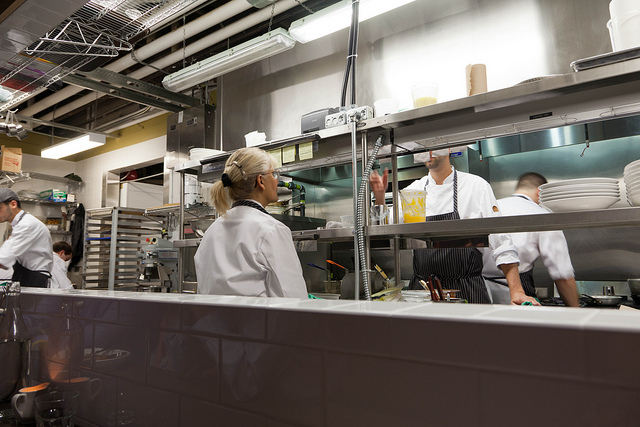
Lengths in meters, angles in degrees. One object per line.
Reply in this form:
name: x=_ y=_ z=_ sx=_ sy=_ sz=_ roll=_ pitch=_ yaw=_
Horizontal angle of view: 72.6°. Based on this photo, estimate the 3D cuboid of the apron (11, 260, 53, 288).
apron: x=-2.770 y=0.604 z=4.155 sx=0.338 sy=0.207 sz=0.254 roll=17 pitch=-24 yaw=-42

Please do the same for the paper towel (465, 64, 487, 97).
paper towel: x=0.901 y=-0.783 z=2.534 sx=0.113 sy=0.180 sz=0.237 roll=-6 pitch=11 yaw=20

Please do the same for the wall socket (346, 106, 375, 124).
wall socket: x=0.251 y=-0.599 z=2.757 sx=0.142 sy=0.078 sz=0.141 roll=-3 pitch=1 yaw=-38

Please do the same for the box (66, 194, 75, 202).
box: x=-4.742 y=-0.287 z=8.283 sx=0.108 sy=0.172 sz=0.330 roll=-14 pitch=12 yaw=-20

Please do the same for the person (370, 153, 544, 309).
person: x=0.879 y=0.187 z=2.832 sx=0.847 sy=1.122 sz=1.560 roll=-5 pitch=11 yaw=23

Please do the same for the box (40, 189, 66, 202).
box: x=-4.862 y=-0.315 z=7.965 sx=0.290 sy=0.161 sz=0.291 roll=-4 pitch=-4 yaw=42

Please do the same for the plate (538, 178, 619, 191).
plate: x=1.307 y=-0.148 z=2.196 sx=0.248 sy=0.050 sz=0.231 roll=-1 pitch=2 yaw=6

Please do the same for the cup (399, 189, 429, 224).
cup: x=0.528 y=-0.042 z=2.542 sx=0.193 sy=0.182 sz=0.199 roll=1 pitch=-11 yaw=0
